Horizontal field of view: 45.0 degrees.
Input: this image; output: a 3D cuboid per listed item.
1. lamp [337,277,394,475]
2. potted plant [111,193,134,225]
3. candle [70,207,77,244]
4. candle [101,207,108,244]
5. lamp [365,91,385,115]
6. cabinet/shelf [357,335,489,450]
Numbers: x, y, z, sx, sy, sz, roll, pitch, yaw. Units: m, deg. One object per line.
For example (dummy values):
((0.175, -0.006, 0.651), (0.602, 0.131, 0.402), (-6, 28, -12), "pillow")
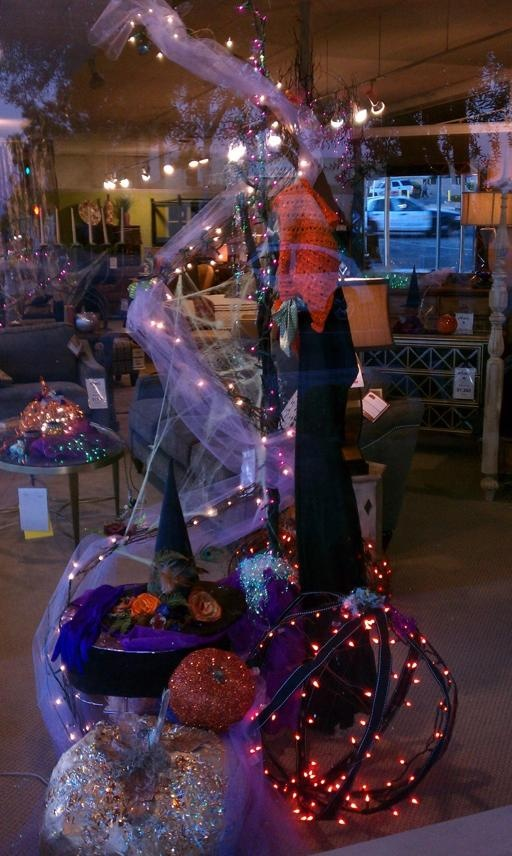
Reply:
((0.315, -0.132, 1.750), (0.138, 0.571, 0.479), (-2, 12, 13), "lamp")
((-0.306, -0.505, 1.421), (0.043, 0.065, 0.025), (-7, 12, -12), "potted plant")
((-0.426, -0.472, 1.446), (0.013, 0.083, 0.030), (-8, 12, -17), "candle")
((-0.353, -0.471, 1.442), (0.015, 0.085, 0.015), (-7, 12, -11), "candle")
((0.380, -1.024, 1.946), (0.029, 0.059, 0.078), (11, 15, 14), "lamp")
((0.636, -0.156, 2.357), (0.442, 0.366, 0.153), (-2, 14, -8), "cabinet/shelf")
